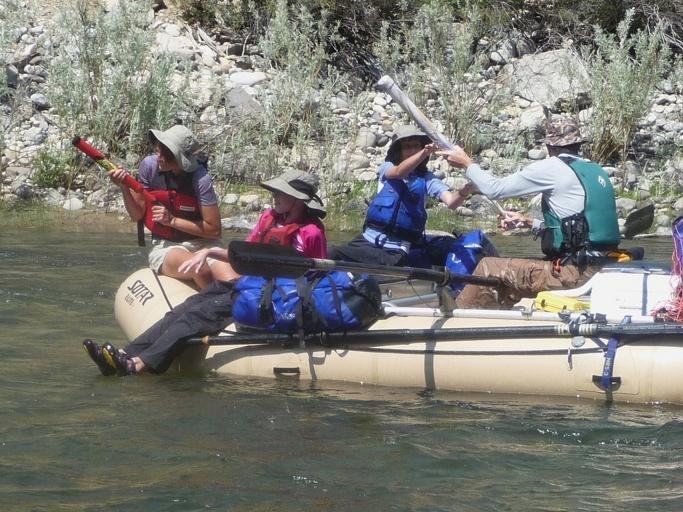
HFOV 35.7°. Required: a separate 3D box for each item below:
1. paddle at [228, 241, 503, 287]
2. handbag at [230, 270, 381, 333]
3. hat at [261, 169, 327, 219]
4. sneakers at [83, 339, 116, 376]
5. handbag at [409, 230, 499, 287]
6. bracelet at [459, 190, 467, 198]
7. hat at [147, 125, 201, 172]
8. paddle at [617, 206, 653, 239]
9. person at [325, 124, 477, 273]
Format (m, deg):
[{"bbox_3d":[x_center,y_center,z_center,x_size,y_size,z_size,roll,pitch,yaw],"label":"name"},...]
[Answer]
[{"bbox_3d":[0.167,0.087,9.493,2.029,0.184,0.213,6,-11,-4],"label":"paddle"},{"bbox_3d":[-0.275,0.350,9.616,1.458,0.468,0.939,2,18,35],"label":"handbag"},{"bbox_3d":[-0.352,-0.651,9.551,0.253,0.444,0.531,35,-11,7],"label":"hat"},{"bbox_3d":[-2.061,0.843,9.312,0.431,0.163,0.141,26,41,29],"label":"sneakers"},{"bbox_3d":[1.187,-0.061,10.531,0.902,0.284,0.744,-15,30,-25],"label":"handbag"},{"bbox_3d":[1.157,-0.587,10.126,0.026,0.073,0.084,18,-15,-42],"label":"bracelet"},{"bbox_3d":[-1.546,-1.000,10.013,0.441,0.446,0.297,-2,5,-15],"label":"hat"},{"bbox_3d":[3.429,-0.405,12.338,0.319,0.381,0.929,0,4,17],"label":"paddle"},{"bbox_3d":[0.600,-0.562,10.381,1.619,1.327,1.077,2,3,9],"label":"person"}]
